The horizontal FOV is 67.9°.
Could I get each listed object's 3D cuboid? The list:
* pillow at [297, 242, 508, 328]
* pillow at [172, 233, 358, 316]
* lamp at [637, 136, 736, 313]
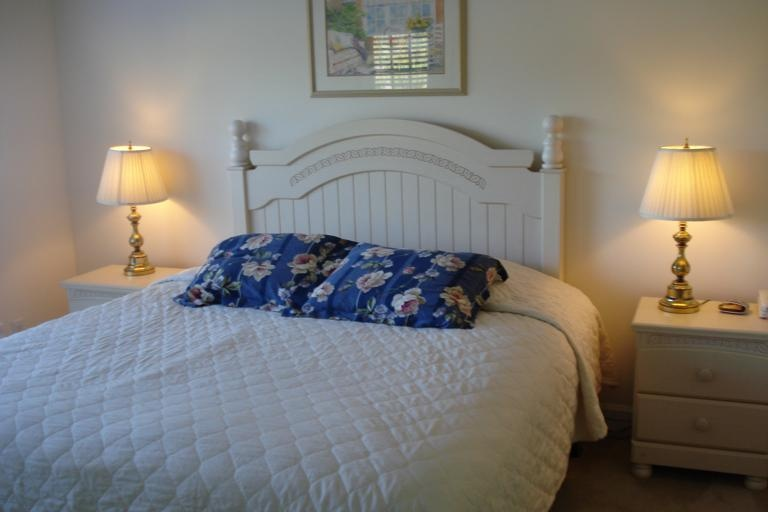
[{"bbox_3d":[0.090,0.161,2.759,0.577,0.144,0.530,4,24,21],"label":"pillow"},{"bbox_3d":[-0.685,0.083,3.044,0.645,0.165,0.528,9,42,25],"label":"pillow"},{"bbox_3d":[1.495,-0.141,2.841,0.389,0.825,0.245,10,17,34],"label":"lamp"}]
